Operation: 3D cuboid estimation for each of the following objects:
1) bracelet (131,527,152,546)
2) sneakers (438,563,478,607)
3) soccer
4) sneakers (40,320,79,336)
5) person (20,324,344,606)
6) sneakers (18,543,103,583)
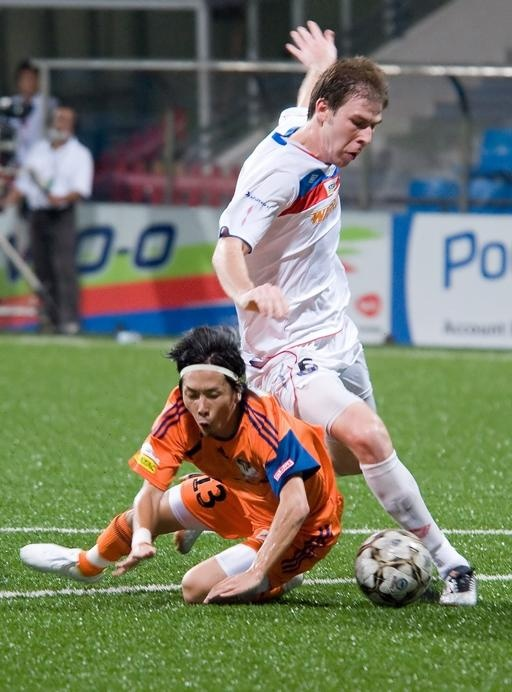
[{"bbox_3d":[-0.303,0.504,2.346,0.044,0.028,0.044,13,21,42],"label":"bracelet"},{"bbox_3d":[0.599,0.711,2.626,0.105,0.097,0.120,1,2,11],"label":"sneakers"},{"bbox_3d":[0.405,0.617,2.627,0.235,0.195,0.241,7,9,30],"label":"soccer"},{"bbox_3d":[-1.068,-0.113,4.841,0.149,0.056,0.081,4,25,-40],"label":"sneakers"},{"bbox_3d":[-0.114,0.349,2.750,1.076,0.691,0.873,-7,-16,32],"label":"person"},{"bbox_3d":[-0.614,0.645,2.741,0.290,0.108,0.093,14,38,-7],"label":"sneakers"}]
